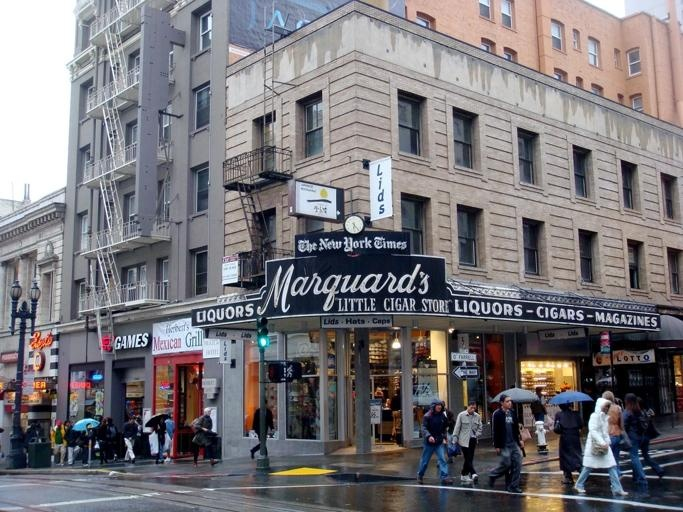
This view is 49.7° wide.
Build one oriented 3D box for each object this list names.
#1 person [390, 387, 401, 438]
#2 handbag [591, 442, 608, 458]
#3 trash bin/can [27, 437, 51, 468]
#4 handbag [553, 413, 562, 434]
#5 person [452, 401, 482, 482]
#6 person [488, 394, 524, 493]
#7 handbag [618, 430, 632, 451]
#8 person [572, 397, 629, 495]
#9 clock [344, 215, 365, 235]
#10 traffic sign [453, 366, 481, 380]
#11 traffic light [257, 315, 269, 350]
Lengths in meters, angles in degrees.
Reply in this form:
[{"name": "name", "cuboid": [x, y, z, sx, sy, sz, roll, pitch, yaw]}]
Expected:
[{"name": "person", "cuboid": [2.098, 6.172, 28.565, 0.395, 2.037, 0.343, -2, -13, 10]}, {"name": "handbag", "cuboid": [6.327, 4.771, 18.086, 0.319, 0.357, 0.260, -2, -7, 2]}, {"name": "trash bin/can", "cuboid": [-12.882, 8.484, 31.439, 0.904, 1.040, 0.972, 5, -15, -20]}, {"name": "handbag", "cuboid": [5.868, 4.558, 19.998, 0.157, 0.485, 0.340, -6, -6, 6]}, {"name": "person", "cuboid": [3.577, 5.283, 21.007, 0.759, 2.212, 1.366, -2, -13, 8]}, {"name": "person", "cuboid": [4.332, 4.948, 19.470, 0.807, 2.449, 0.993, -3, -13, 13]}, {"name": "handbag", "cuboid": [7.351, 4.759, 19.114, 0.318, 0.583, 0.413, 3, -18, 38]}, {"name": "person", "cuboid": [6.464, 4.763, 18.505, 1.141, 2.383, 1.109, -5, -14, 21]}, {"name": "clock", "cuboid": [0.452, -1.165, 26.513, 0.643, 0.686, 0.676, -17, -11, 9]}, {"name": "traffic sign", "cuboid": [4.713, 4.346, 27.599, 0.721, 0.472, 1.446, -4, -15, 18]}, {"name": "traffic light", "cuboid": [-2.640, 2.572, 24.781, 0.336, 1.125, 0.675, 2, -13, -7]}]
